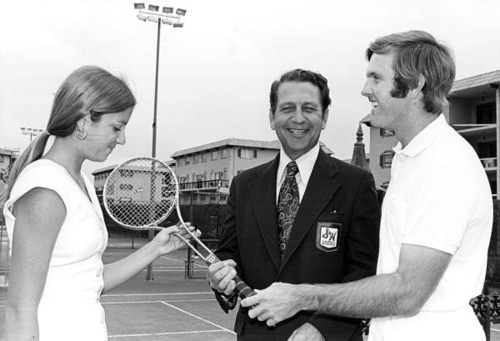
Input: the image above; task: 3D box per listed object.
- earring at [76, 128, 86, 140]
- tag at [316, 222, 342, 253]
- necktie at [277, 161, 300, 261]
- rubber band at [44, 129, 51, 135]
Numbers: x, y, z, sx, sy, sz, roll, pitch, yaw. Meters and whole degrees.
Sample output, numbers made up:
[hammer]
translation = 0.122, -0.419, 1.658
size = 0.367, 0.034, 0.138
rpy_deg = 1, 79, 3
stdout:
[earring]
translation = -1.034, -0.222, 3.016
size = 0.051, 0.054, 0.053
rpy_deg = 7, -7, -4
[tag]
translation = 0.551, 0.464, 3.454
size = 0.170, 0.229, 0.025
rpy_deg = 5, 18, 7
[necktie]
translation = 0.261, 0.264, 3.588
size = 0.153, 0.683, 0.186
rpy_deg = 0, -5, 30
[rubber band]
translation = -1.232, -0.233, 3.017
size = 0.033, 0.032, 0.036
rpy_deg = 4, -5, -19
